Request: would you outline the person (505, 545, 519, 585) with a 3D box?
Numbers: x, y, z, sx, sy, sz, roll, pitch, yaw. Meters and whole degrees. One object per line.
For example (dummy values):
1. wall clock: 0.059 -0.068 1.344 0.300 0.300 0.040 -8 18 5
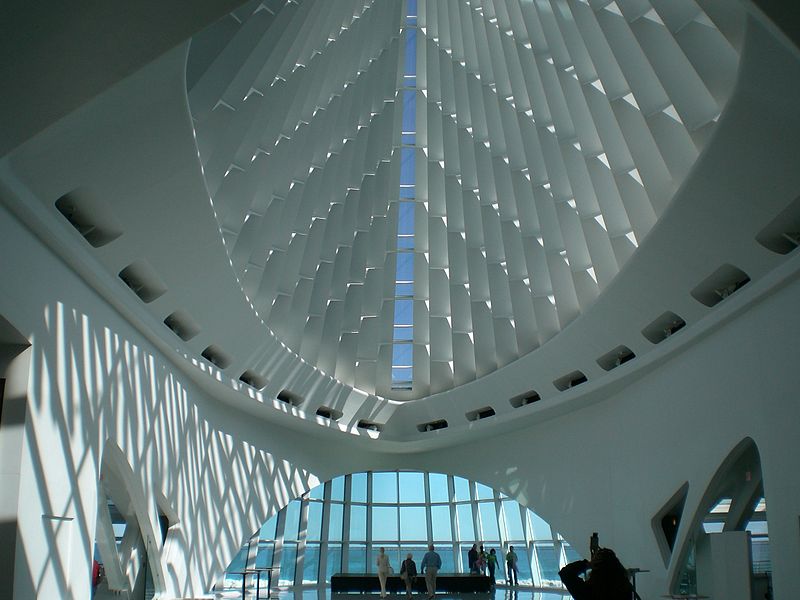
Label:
1. person: 4.093 9.793 20.004 0.459 1.348 1.051 -8 -29 8
